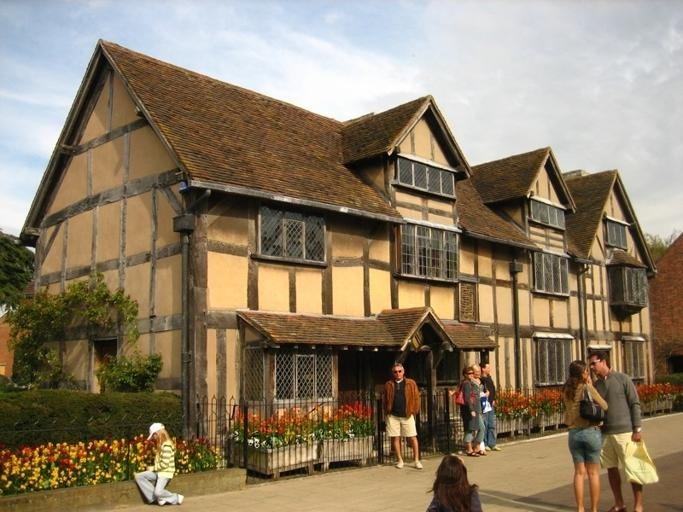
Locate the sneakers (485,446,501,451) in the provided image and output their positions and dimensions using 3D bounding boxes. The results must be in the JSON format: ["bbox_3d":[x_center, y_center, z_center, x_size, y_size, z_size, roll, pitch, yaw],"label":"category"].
[{"bbox_3d":[3.952,4.994,18.422,0.372,0.162,0.132,-1,-5,3],"label":"sneakers"}]

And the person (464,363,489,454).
[{"bbox_3d":[3.345,3.877,17.928,0.525,2.254,1.069,-6,-16,14],"label":"person"}]

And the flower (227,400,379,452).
[{"bbox_3d":[-0.840,3.842,16.159,2.426,0.733,1.468,0,-2,-40],"label":"flower"}]

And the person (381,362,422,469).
[{"bbox_3d":[1.400,3.686,16.242,0.820,2.336,0.806,-1,-16,-3],"label":"person"}]

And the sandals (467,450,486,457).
[{"bbox_3d":[3.328,4.881,17.623,0.208,0.098,0.284,8,-13,-43],"label":"sandals"}]

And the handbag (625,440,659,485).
[{"bbox_3d":[4.928,3.396,11.710,0.461,0.702,0.458,-8,-17,21],"label":"handbag"}]

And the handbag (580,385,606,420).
[{"bbox_3d":[4.148,2.436,11.704,0.150,0.442,0.426,-25,-37,37],"label":"handbag"}]

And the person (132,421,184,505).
[{"bbox_3d":[-3.392,3.872,13.206,0.872,1.472,0.342,3,-16,-16],"label":"person"}]

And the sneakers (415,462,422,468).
[{"bbox_3d":[1.774,4.706,15.960,0.161,0.135,0.324,-12,-20,31],"label":"sneakers"}]

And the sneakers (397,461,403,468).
[{"bbox_3d":[1.330,4.740,16.119,0.170,0.162,0.381,-3,-17,4],"label":"sneakers"}]
